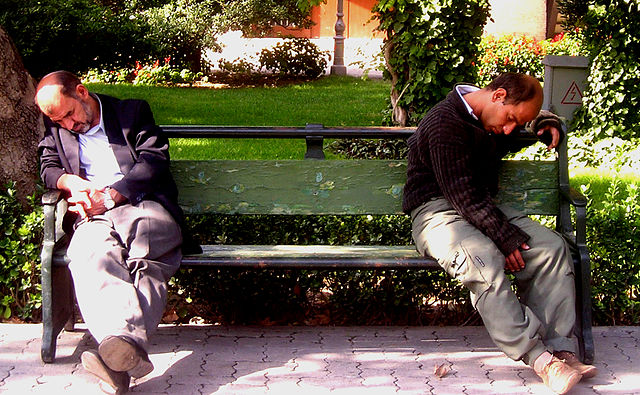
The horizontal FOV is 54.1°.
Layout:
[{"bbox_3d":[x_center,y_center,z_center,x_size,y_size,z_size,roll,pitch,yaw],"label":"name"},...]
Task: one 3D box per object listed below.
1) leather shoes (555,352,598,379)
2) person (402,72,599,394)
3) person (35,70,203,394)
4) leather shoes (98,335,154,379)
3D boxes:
[{"bbox_3d":[1.913,1.241,4.681,0.134,0.161,0.394,-7,7,-40],"label":"leather shoes"},{"bbox_3d":[1.451,0.216,4.937,0.982,2.316,1.521,-10,17,-29],"label":"person"},{"bbox_3d":[-1.586,0.193,4.945,1.009,2.326,1.455,-8,16,-22],"label":"person"},{"bbox_3d":[-1.393,1.127,4.562,0.237,0.391,0.146,-28,30,8],"label":"leather shoes"}]
